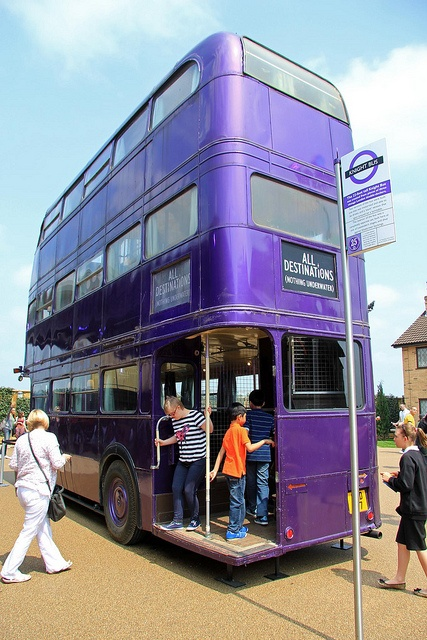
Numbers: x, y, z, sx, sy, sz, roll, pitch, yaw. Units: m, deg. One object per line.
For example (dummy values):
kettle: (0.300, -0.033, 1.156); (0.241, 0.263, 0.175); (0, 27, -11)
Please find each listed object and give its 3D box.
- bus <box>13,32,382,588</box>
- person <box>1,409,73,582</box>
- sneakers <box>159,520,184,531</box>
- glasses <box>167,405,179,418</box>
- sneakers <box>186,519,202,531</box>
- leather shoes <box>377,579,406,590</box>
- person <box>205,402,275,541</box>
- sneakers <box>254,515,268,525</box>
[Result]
bus: (-1.504, 0.172, 7.263); (5.982, 6.715, 2.054); (-11, -16, 43)
person: (-1.786, 1.772, 4.091); (0.627, 1.685, 0.591); (1, -8, -23)
sneakers: (-0.463, 2.270, 4.502); (0.265, 0.138, 0.102); (14, -17, -27)
glasses: (-0.477, 1.071, 4.760); (0.139, 0.193, 0.047); (0, 0, -24)
sneakers: (-0.225, 2.262, 4.449); (0.108, 0.086, 0.298); (-5, -9, 12)
leather shoes: (1.583, 2.321, 3.586); (0.170, 0.082, 0.113); (9, -21, 12)
person: (0.206, 1.569, 4.282); (0.432, 1.279, 0.638); (-5, -8, 27)
sneakers: (0.551, 2.289, 4.671); (0.064, 0.094, 0.186); (3, -11, -14)
